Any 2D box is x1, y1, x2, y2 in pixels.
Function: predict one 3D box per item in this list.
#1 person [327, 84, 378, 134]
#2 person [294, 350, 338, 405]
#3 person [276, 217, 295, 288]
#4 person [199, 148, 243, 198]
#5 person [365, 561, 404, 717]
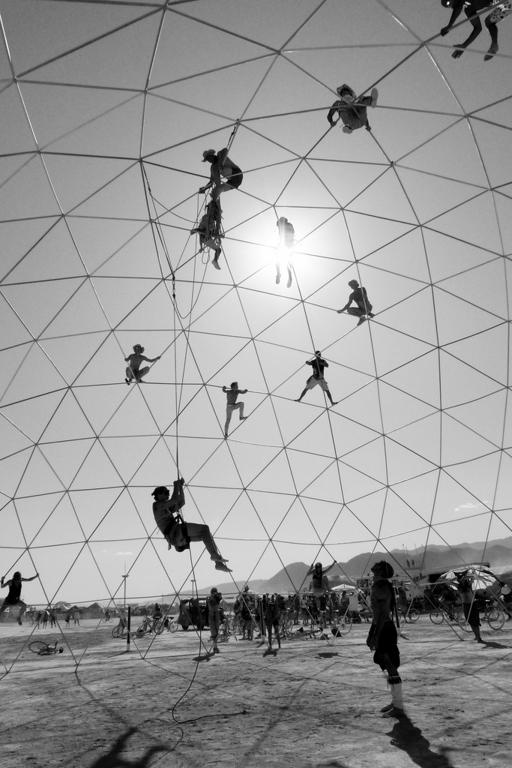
[{"bbox_3d":[2.389,-7.320,17.228,0.587,1.156,1.547,44,0,-37],"label":"person"},{"bbox_3d":[2.381,-0.288,24.989,1.478,2.489,0.727,7,31,13],"label":"person"},{"bbox_3d":[1.098,-5.039,23.937,1.098,0.554,2.069,7,-49,9],"label":"person"},{"bbox_3d":[-1.061,-6.261,18.768,1.317,0.912,1.897,15,6,-1],"label":"person"},{"bbox_3d":[2.218,4.342,11.210,0.536,2.393,1.476,-6,-15,11],"label":"person"}]
